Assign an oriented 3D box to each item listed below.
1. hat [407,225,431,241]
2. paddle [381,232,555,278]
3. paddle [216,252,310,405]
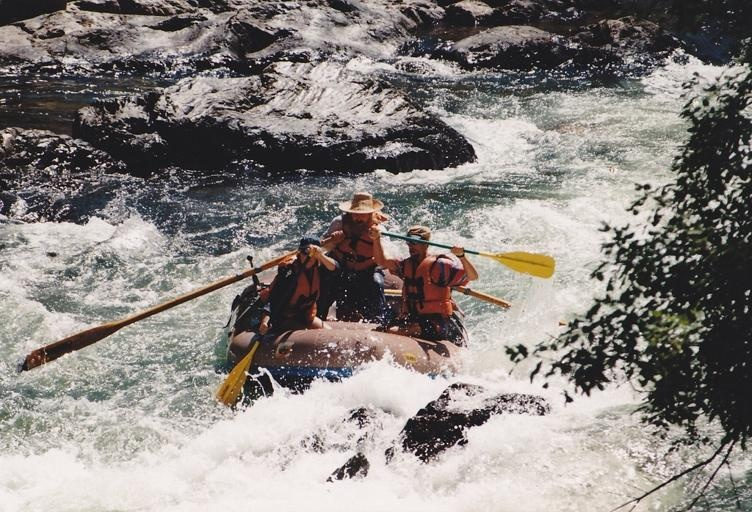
[{"bbox_3d":[0.749,-0.378,16.971,0.513,0.185,0.588,2,-4,6],"label":"hat"},{"bbox_3d":[1.680,0.026,17.618,2.891,0.371,0.294,12,13,8],"label":"paddle"},{"bbox_3d":[-2.037,1.636,16.408,0.300,0.093,2.105,31,58,4],"label":"paddle"}]
